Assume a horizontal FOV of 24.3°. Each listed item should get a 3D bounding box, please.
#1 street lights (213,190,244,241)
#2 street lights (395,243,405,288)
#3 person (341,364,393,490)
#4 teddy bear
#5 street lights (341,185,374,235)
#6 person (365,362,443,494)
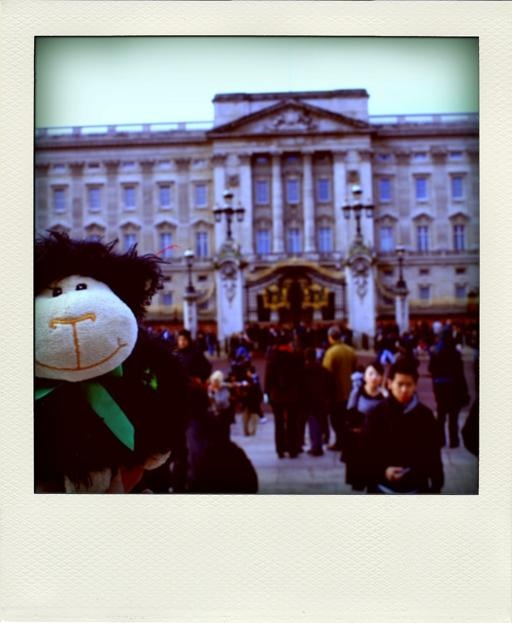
[{"bbox_3d":[-0.321,-1.028,12.567,0.470,0.598,0.459,-1,-3,-7],"label":"street lights"},{"bbox_3d":[1.459,-0.475,12.358,0.086,0.435,0.240,0,1,6],"label":"street lights"},{"bbox_3d":[0.900,0.987,9.731,0.398,1.073,0.344,-4,19,-7],"label":"person"},{"bbox_3d":[-1.064,0.390,8.564,1.029,1.946,0.672,-1,1,-10],"label":"teddy bear"},{"bbox_3d":[1.021,-1.059,12.324,0.341,0.542,0.139,0,1,10],"label":"street lights"},{"bbox_3d":[1.069,0.861,8.869,0.553,1.035,0.373,0,1,8],"label":"person"}]
